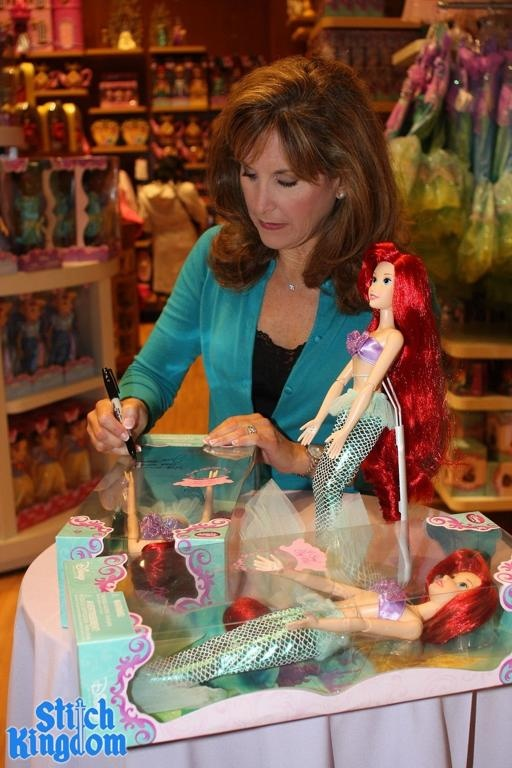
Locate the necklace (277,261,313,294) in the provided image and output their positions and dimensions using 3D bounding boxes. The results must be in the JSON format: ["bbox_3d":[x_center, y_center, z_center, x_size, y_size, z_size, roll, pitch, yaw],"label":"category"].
[{"bbox_3d":[0.078,-0.238,1.344,0.060,0.035,0.081,21,-8,11],"label":"necklace"}]

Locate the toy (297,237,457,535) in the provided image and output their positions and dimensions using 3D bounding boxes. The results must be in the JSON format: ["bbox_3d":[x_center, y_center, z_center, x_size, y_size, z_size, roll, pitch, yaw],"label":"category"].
[{"bbox_3d":[0.158,-0.001,0.797,0.198,0.349,0.150,3,15,2],"label":"toy"}]

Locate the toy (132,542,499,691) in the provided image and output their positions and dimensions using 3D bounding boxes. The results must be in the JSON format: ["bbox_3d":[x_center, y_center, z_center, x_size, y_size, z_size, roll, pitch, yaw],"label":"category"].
[{"bbox_3d":[0.054,0.225,0.627,0.335,0.098,0.114,-7,46,-16],"label":"toy"}]
